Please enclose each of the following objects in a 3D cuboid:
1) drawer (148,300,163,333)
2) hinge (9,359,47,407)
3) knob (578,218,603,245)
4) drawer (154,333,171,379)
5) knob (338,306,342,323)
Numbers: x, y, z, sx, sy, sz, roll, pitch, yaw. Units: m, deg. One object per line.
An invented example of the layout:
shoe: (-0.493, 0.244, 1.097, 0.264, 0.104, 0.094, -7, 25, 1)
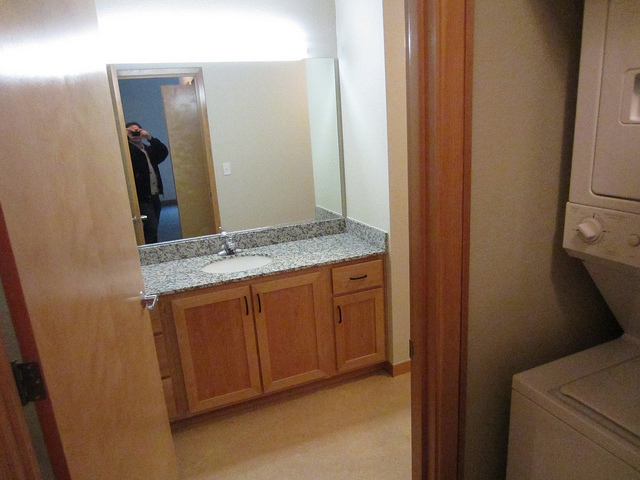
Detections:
drawer: (-0.918, 0.450, 2.877, 0.046, 0.206, 0.206, -9, -7, -6)
hinge: (-0.836, 0.404, 1.495, 0.063, 0.139, 0.050, -13, 18, -19)
knob: (0.864, -0.031, 1.654, 0.031, 0.064, 0.061, -8, 27, -15)
drawer: (-0.895, 0.664, 2.951, 0.064, 0.283, 0.030, -13, 18, -20)
knob: (0.129, 0.474, 3.320, 0.009, 0.117, 0.026, 10, 24, 44)
